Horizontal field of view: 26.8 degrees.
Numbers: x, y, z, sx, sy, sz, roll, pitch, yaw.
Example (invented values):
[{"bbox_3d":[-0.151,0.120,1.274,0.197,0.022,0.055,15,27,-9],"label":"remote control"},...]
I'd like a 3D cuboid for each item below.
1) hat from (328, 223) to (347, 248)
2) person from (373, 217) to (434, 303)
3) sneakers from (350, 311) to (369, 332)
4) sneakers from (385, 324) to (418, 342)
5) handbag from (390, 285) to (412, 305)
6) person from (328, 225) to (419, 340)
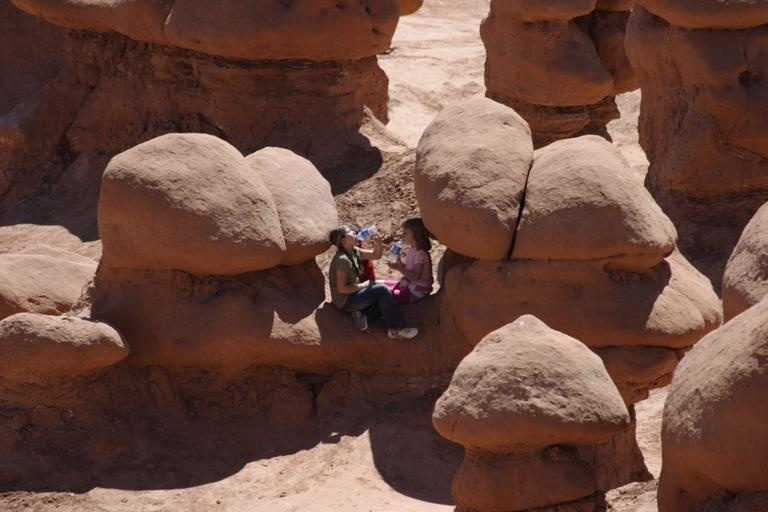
[{"bbox_3d":[-0.453,-0.205,15.538,0.214,0.193,0.158,-39,9,1],"label":"hat"},{"bbox_3d":[0.199,0.077,15.972,0.760,0.885,0.550,7,29,18],"label":"person"},{"bbox_3d":[-0.233,0.636,15.536,0.100,0.118,0.204,5,47,-56],"label":"sneakers"},{"bbox_3d":[0.162,0.752,15.429,0.270,0.111,0.112,-2,18,5],"label":"sneakers"},{"bbox_3d":[0.178,0.392,15.824,0.172,0.085,0.212,-34,65,-33],"label":"handbag"},{"bbox_3d":[-0.151,0.254,15.502,0.688,0.818,0.974,-11,41,-16],"label":"person"}]
